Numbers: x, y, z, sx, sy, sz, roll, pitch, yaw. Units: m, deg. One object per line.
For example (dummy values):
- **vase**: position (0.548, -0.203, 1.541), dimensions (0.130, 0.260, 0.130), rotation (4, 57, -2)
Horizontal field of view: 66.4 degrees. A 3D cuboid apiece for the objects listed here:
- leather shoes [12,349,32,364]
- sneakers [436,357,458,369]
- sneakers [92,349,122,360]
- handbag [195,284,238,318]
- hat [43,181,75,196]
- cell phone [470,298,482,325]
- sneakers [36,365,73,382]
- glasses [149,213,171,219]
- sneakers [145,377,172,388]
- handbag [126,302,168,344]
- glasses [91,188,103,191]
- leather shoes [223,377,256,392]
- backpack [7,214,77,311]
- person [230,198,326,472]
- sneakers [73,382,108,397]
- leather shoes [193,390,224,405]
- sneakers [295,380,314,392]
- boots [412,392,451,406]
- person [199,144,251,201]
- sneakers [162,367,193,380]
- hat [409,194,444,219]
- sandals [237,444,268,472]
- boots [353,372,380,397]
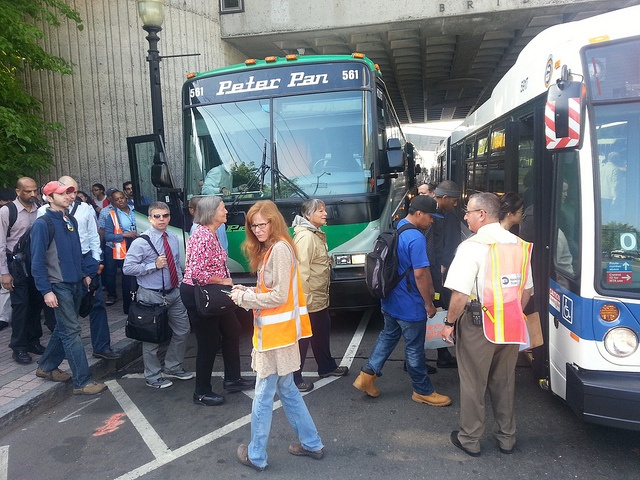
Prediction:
- **leather shoes**: position (-4.104, 1.616, 6.772), dimensions (0.366, 0.159, 0.127), rotation (1, 1, 33)
- **sneakers**: position (1.654, 1.616, 6.449), dimensions (0.323, 0.149, 0.124), rotation (-3, 7, 3)
- **sneakers**: position (-2.930, 1.595, 6.774), dimensions (0.338, 0.174, 0.143), rotation (1, 1, -13)
- **handbag**: position (-1.168, 0.669, 5.455), dimensions (0.424, 0.437, 0.226), rotation (-3, 2, -30)
- **hat**: position (-3.264, -0.621, 6.056), dimensions (0.280, 0.111, 0.185), rotation (-4, 4, 22)
- **cell phone**: position (1.473, 0.688, 4.630), dimensions (0.101, 0.225, 0.049), rotation (-2, 1, 41)
- **sneakers**: position (-3.320, 1.715, 6.232), dimensions (0.448, 0.232, 0.174), rotation (4, 4, -13)
- **glasses**: position (-2.043, -0.308, 6.330), dimensions (0.229, 0.079, 0.142), rotation (-9, 14, -27)
- **sneakers**: position (-2.043, 1.850, 6.341), dimensions (0.347, 0.150, 0.134), rotation (0, 19, 3)
- **handbag**: position (-2.158, 1.053, 6.192), dimensions (0.520, 0.495, 0.295), rotation (-1, 12, 7)
- **glasses**: position (-4.892, -1.125, 10.832), dimensions (0.116, 0.073, 0.159), rotation (-1, 1, 4)
- **leather shoes**: position (-0.999, 1.781, 6.149), dimensions (0.454, 0.192, 0.156), rotation (-2, 6, -13)
- **backpack**: position (-3.228, 0.132, 6.012), dimensions (0.612, 0.965, 0.396), rotation (-14, 16, -42)
- **person**: position (-0.427, 0.906, 4.633), dimensions (0.818, 2.512, 0.488), rotation (-6, 12, -13)
- **sneakers**: position (-2.849, 1.879, 6.158), dimensions (0.391, 0.190, 0.172), rotation (-3, 8, -8)
- **leather shoes**: position (-1.303, 1.885, 5.759), dimensions (0.286, 0.129, 0.157), rotation (1, 6, -1)
- **sneakers**: position (-0.177, 1.801, 5.961), dimensions (0.223, 0.102, 0.088), rotation (-9, -6, 34)
- **boots**: position (1.282, 1.801, 5.618), dimensions (0.388, 0.184, 0.150), rotation (-3, 5, 21)
- **person**: position (-1.483, -0.939, 7.597), dimensions (0.582, 0.730, 1.020), rotation (-3, 10, -21)
- **sneakers**: position (-1.853, 1.771, 6.546), dimensions (0.437, 0.191, 0.164), rotation (2, 2, -3)
- **hat**: position (1.205, -0.366, 5.519), dimensions (0.289, 0.170, 0.202), rotation (1, 20, -36)
- **sandals**: position (-0.650, 2.106, 4.728), dimensions (0.134, 0.139, 0.323), rotation (-12, 34, -43)
- **boots**: position (0.551, 1.716, 5.747), dimensions (0.317, 0.224, 0.120), rotation (37, -2, -30)
